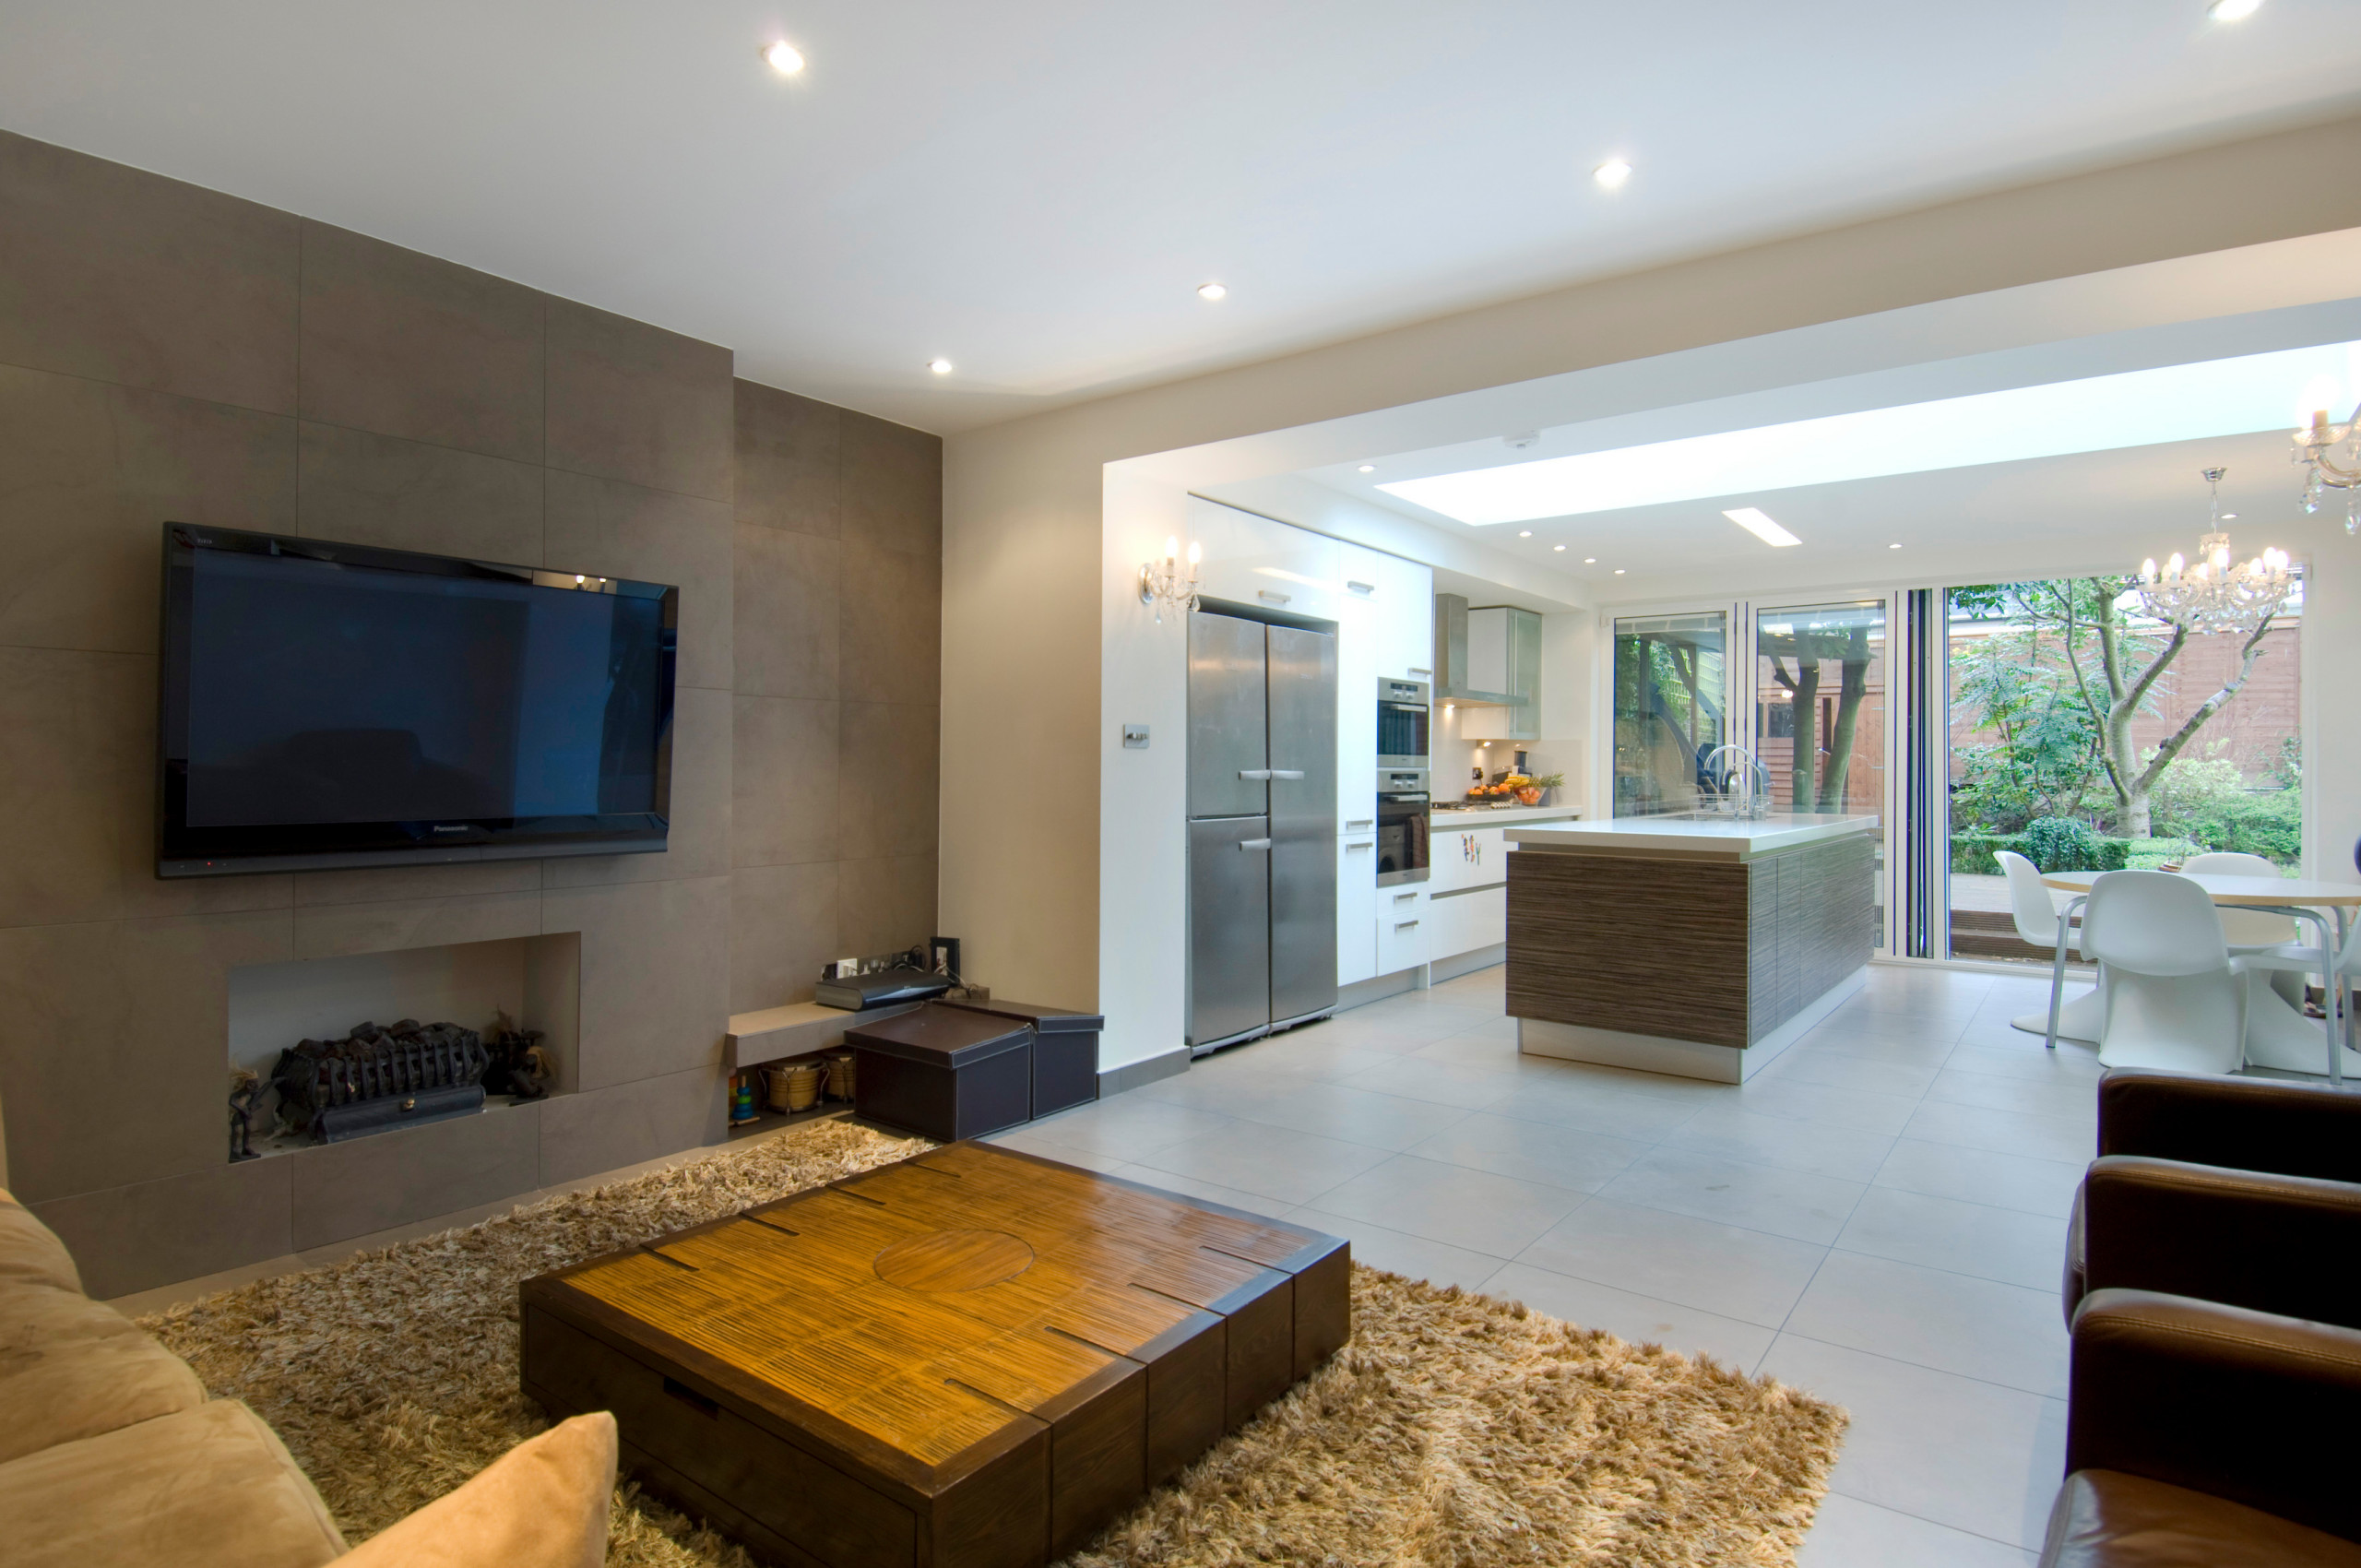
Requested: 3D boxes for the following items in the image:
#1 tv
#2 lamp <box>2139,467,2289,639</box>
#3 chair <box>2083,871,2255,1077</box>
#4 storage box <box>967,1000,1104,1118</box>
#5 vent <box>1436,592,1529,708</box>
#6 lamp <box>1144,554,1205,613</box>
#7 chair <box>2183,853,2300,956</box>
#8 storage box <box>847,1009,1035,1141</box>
[{"bbox_3d":[-2.766,-0.315,5.245,1.396,0.904,0.144,0,3,-44],"label":"tv"},{"bbox_3d":[5.832,-1.245,8.304,0.829,1.000,2.349,8,14,32],"label":"lamp"},{"bbox_3d":[4.587,0.845,6.919,0.681,0.964,0.468,9,15,35],"label":"chair"},{"bbox_3d":[-0.656,1.165,6.671,0.398,0.450,0.728,-3,2,-45],"label":"storage box"},{"bbox_3d":[1.970,-0.950,10.568,0.886,0.756,0.326,-8,18,1],"label":"vent"},{"bbox_3d":[-0.024,-0.941,6.924,0.208,0.272,0.393,1,4,22],"label":"lamp"},{"bbox_3d":[5.058,0.591,7.103,0.375,0.432,0.415,5,-8,-44],"label":"chair"},{"bbox_3d":[-0.988,1.172,6.275,0.542,0.336,0.543,1,2,39],"label":"storage box"}]
